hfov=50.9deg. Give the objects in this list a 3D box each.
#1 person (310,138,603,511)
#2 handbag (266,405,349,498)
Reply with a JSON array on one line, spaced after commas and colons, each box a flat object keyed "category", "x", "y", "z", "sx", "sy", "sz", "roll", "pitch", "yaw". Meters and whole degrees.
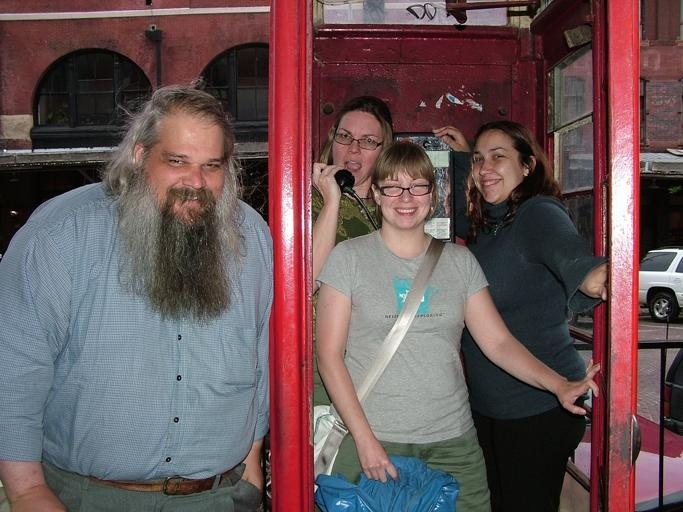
[{"category": "person", "x": 0.397, "y": 0.346, "z": 3.568, "sx": 1.153, "sy": 1.439, "sz": 0.366, "roll": -3, "pitch": 1, "yaw": -15}, {"category": "handbag", "x": -0.132, "y": 0.877, "z": 3.287, "sx": 0.278, "sy": 0.493, "sz": 0.299, "roll": 0, "pitch": -6, "yaw": -4}]
